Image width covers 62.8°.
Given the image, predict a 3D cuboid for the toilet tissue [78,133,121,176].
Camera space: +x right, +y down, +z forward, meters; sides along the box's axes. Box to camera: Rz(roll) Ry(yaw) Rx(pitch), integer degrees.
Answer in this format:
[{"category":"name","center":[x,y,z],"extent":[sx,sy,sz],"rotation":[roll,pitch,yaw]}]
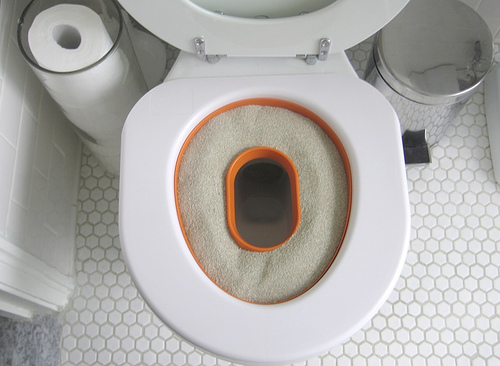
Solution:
[{"category":"toilet tissue","center":[-0.414,-0.078,1.133],"extent":[0.084,0.110,0.122],"rotation":[-2,73,-16]}]

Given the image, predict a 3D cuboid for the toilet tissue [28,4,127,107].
[{"category":"toilet tissue","center":[-0.357,-0.254,0.934],"extent":[0.181,0.218,0.211],"rotation":[-1,88,-10]}]

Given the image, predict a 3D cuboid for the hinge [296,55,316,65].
[{"category":"hinge","center":[0.123,-0.270,0.891],"extent":[0.030,0.007,0.022],"rotation":[-7,93,4]}]

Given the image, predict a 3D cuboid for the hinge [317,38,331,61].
[{"category":"hinge","center":[0.157,-0.281,0.871],"extent":[0.023,0.060,0.026],"rotation":[5,83,2]}]

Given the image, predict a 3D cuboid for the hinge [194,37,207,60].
[{"category":"hinge","center":[-0.106,-0.281,0.863],"extent":[0.027,0.066,0.023],"rotation":[0,83,1]}]
